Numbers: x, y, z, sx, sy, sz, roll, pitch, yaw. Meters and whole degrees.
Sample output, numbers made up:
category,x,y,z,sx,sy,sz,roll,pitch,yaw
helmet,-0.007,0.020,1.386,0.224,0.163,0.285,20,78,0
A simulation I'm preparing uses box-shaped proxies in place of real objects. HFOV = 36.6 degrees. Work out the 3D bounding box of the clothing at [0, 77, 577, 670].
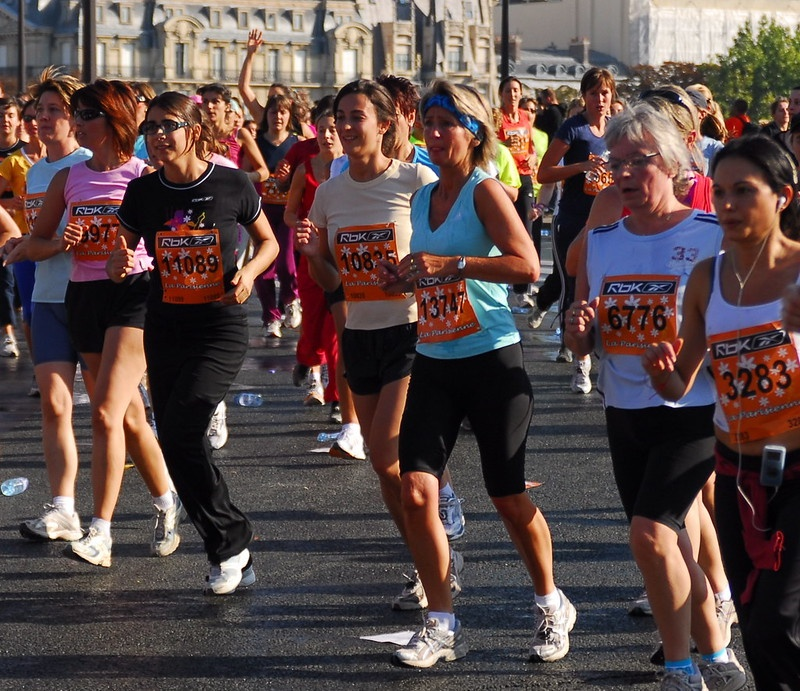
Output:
category,x,y,z,sx,sy,sz,roll,pitch,yaw
clothing,-0.337,0.351,6.571,1.758,4.434,2.318,-11,-16,41

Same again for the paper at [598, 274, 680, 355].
category,x,y,z,sx,sy,sz,roll,pitch,yaw
paper,0.856,-0.111,4.292,0.239,0.266,0.042,-4,-19,25

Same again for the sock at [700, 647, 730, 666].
category,x,y,z,sx,sy,sz,roll,pitch,yaw
sock,1.076,1.064,4.159,0.082,0.063,0.044,15,-36,-15

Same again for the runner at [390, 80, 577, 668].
category,x,y,z,sx,sy,sz,roll,pitch,yaw
runner,0.331,0.068,4.675,0.681,2.170,0.663,0,7,4

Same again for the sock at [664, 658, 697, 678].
category,x,y,z,sx,sy,sz,roll,pitch,yaw
sock,0.919,1.054,3.991,0.080,0.089,0.053,-13,-5,23
